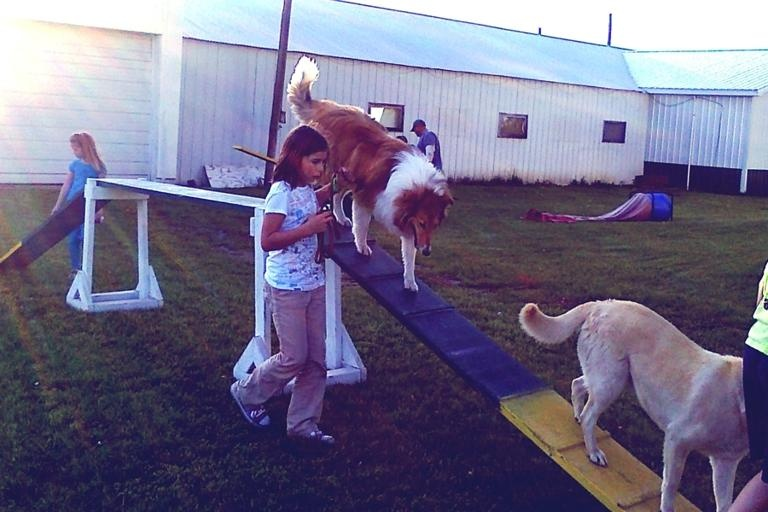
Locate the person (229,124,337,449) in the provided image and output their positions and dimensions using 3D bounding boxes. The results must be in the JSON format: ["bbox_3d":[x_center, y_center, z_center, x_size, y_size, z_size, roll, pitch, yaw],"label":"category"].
[{"bbox_3d":[-0.880,0.291,5.100,0.827,2.867,0.600,-1,13,-7],"label":"person"}]
